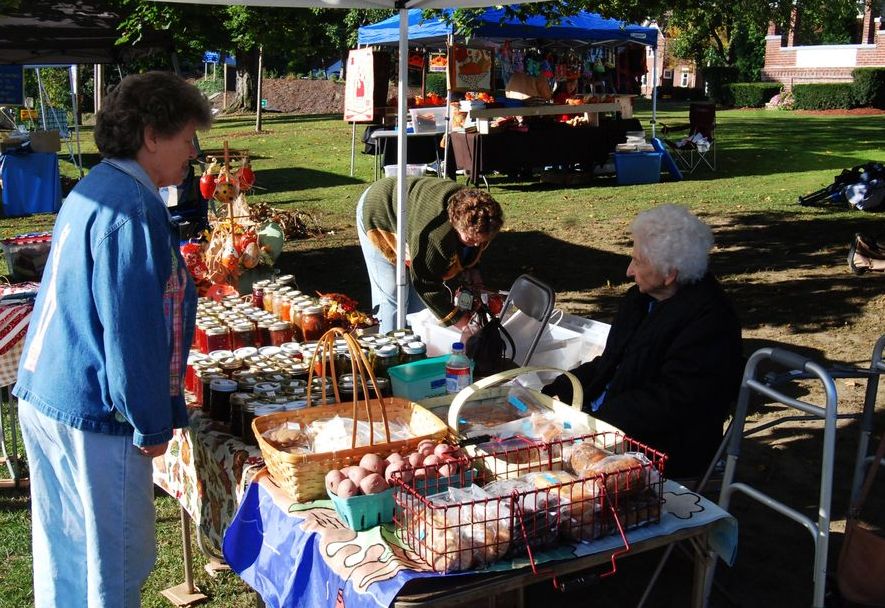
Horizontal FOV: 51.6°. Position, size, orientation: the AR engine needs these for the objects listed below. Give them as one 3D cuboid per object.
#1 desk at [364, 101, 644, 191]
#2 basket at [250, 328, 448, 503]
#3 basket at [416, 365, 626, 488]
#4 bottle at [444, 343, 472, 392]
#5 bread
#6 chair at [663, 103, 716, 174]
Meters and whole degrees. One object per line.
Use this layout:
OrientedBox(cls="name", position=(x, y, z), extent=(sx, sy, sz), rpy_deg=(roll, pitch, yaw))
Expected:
OrientedBox(cls="desk", position=(1.415, -2.898, 16.422), extent=(4.272, 1.425, 1.944), rpy_deg=(-10, 14, -39))
OrientedBox(cls="basket", position=(-0.445, 0.448, 4.130), extent=(0.844, 0.629, 0.700), rpy_deg=(-5, 12, -21))
OrientedBox(cls="basket", position=(0.348, 0.493, 4.341), extent=(0.642, 0.269, 0.814), rpy_deg=(-14, 38, -38))
OrientedBox(cls="bottle", position=(0.080, 0.352, 4.837), extent=(0.144, 0.262, 0.149), rpy_deg=(0, 6, 0))
OrientedBox(cls="bread", position=(0.324, 0.829, 3.875), extent=(0.825, 0.275, 0.896), rpy_deg=(-7, 12, -24))
OrientedBox(cls="chair", position=(4.929, -3.343, 18.272), extent=(0.873, 1.393, 0.836), rpy_deg=(-10, 14, -43))
